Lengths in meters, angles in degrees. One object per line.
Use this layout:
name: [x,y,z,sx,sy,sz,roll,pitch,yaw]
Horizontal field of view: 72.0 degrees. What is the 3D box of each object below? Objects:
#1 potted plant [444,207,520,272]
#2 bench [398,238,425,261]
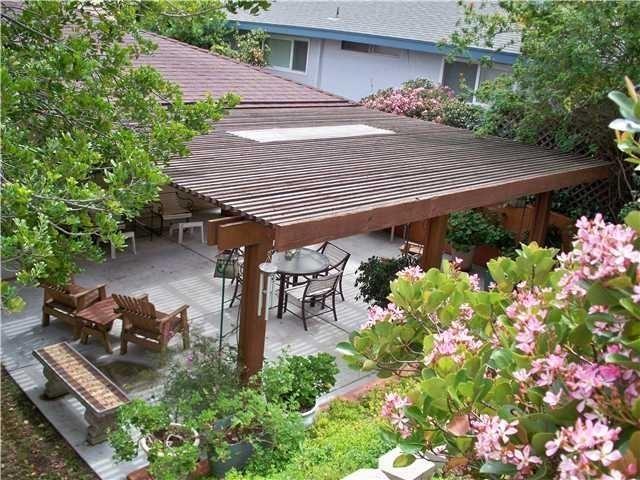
potted plant: [3.264,-0.110,8.806,1.229,1.138,1.107,-19,26,-39]
bench: [2.119,0.235,10.123,0.367,0.450,0.311,16,53,14]
